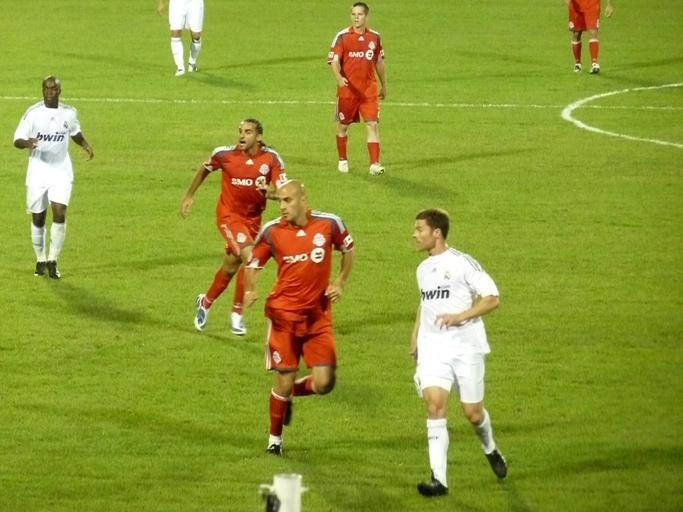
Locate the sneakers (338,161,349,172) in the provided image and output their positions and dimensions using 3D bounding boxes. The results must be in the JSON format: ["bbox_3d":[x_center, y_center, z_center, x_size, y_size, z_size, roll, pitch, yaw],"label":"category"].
[{"bbox_3d":[0.026,-1.581,21.481,0.168,0.183,0.184,4,6,34],"label":"sneakers"}]

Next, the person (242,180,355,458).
[{"bbox_3d":[-0.469,0.659,13.031,1.134,2.906,0.730,0,11,-6],"label":"person"}]

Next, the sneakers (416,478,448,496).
[{"bbox_3d":[0.918,2.359,12.182,0.151,0.150,0.296,-2,-9,35],"label":"sneakers"}]

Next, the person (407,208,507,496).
[{"bbox_3d":[1.193,1.012,12.496,0.927,2.846,1.135,1,11,3],"label":"person"}]

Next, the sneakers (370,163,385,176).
[{"bbox_3d":[0.619,-1.498,21.044,0.130,0.166,0.313,-15,-1,-22],"label":"sneakers"}]

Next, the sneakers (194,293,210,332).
[{"bbox_3d":[-1.836,0.759,15.553,0.164,0.510,0.218,-2,7,-28],"label":"sneakers"}]

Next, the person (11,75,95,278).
[{"bbox_3d":[-4.112,-1.062,16.817,0.859,2.829,0.578,-2,11,-15],"label":"person"}]

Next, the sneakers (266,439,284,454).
[{"bbox_3d":[-0.727,2.096,12.981,0.080,0.123,0.220,3,1,-32],"label":"sneakers"}]
